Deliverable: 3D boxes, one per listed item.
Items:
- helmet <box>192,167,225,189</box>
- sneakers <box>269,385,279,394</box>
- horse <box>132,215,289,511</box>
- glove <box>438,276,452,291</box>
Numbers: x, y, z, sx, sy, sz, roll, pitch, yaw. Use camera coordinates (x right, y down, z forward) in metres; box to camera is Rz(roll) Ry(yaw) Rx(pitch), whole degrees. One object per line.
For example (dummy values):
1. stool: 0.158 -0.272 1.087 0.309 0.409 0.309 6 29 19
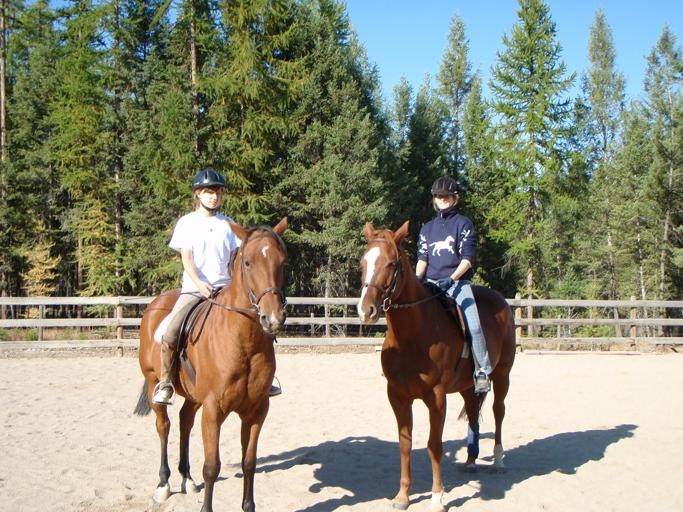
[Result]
1. helmet: -3.179 -1.804 18.273 0.553 0.388 0.496 -2 1 -1
2. sneakers: -1.604 3.270 18.468 0.211 0.088 0.244 2 23 -9
3. horse: -2.940 2.582 17.774 3.565 6.516 1.768 5 13 21
4. glove: 2.510 0.692 18.568 0.230 0.370 0.123 -20 1 -2
